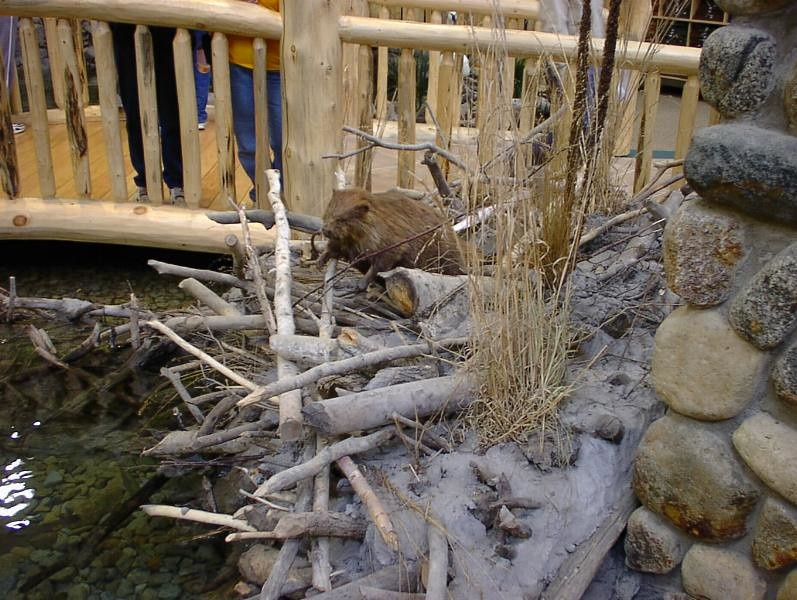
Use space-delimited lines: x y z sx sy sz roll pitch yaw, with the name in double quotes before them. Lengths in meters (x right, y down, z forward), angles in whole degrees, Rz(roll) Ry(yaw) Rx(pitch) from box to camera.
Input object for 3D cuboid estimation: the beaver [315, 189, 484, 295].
"beaver" -0.018 -0.351 3.332 0.896 0.547 0.489 4 12 13
